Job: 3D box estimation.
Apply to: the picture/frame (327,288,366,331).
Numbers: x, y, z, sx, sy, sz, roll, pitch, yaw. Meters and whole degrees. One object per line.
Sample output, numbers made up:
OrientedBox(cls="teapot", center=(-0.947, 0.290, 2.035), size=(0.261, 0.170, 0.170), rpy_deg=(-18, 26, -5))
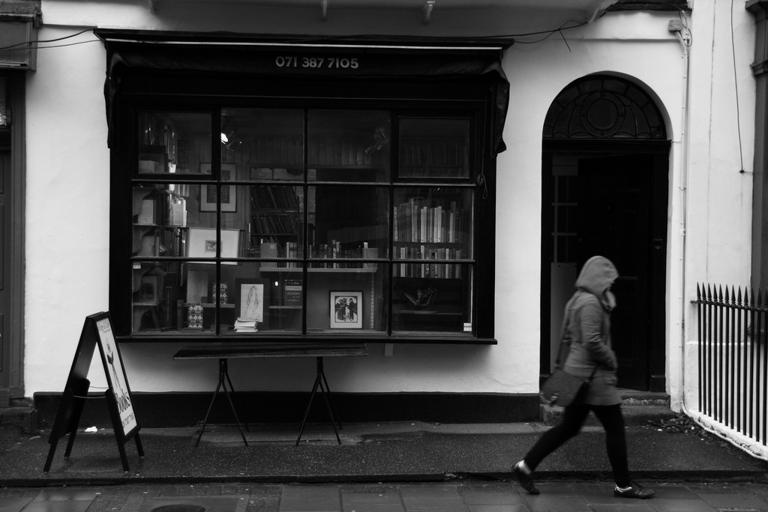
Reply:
OrientedBox(cls="picture/frame", center=(-0.534, 0.743, 13.330), size=(0.641, 0.625, 0.035), rpy_deg=(0, -4, -7))

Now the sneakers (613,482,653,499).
OrientedBox(cls="sneakers", center=(2.866, 2.737, 11.502), size=(0.448, 0.170, 0.167), rpy_deg=(-1, -2, 3))

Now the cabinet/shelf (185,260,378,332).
OrientedBox(cls="cabinet/shelf", center=(-1.312, 0.528, 13.179), size=(2.630, 0.835, 0.351), rpy_deg=(0, 1, -5))

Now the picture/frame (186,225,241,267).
OrientedBox(cls="picture/frame", center=(-2.281, -0.145, 13.267), size=(0.705, 0.448, 0.055), rpy_deg=(2, 9, -2))
